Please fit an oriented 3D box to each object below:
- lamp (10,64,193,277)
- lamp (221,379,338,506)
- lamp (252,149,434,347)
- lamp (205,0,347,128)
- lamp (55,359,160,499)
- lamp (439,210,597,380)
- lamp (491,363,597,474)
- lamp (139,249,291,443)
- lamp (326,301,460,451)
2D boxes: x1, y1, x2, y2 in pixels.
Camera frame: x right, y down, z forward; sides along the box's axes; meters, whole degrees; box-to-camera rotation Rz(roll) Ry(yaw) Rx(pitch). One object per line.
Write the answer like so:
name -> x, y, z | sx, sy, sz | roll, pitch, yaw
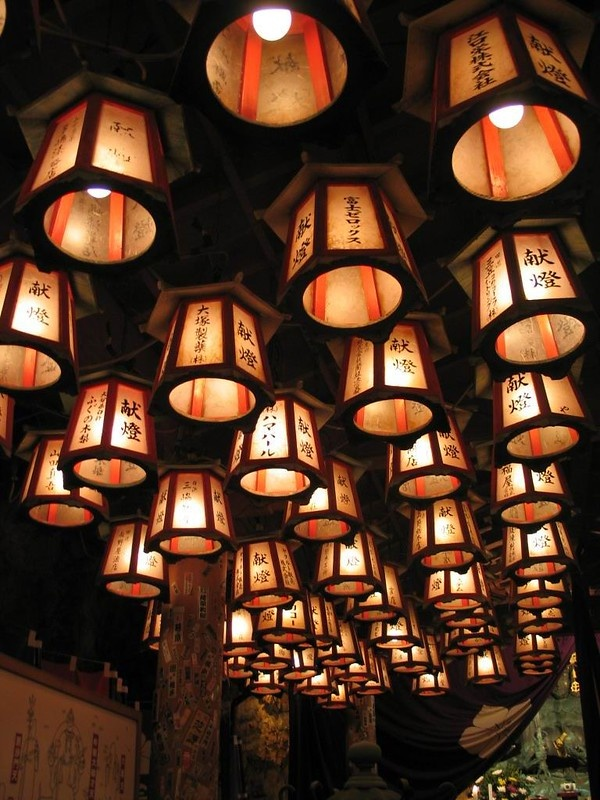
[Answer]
lamp -> -0.924, -1.150, 3.569 | 0.892, 0.840, 0.693 | 11, -29, -29
lamp -> -0.189, 0.276, 5.354 | 0.713, 0.629, 0.617 | -5, -24, 10
lamp -> 0.253, -0.715, 3.697 | 0.850, 0.744, 0.642 | 5, -31, -9
lamp -> -0.093, -1.320, 2.944 | 0.365, 0.375, 0.362 | 23, -46, -29
lamp -> -1.314, 0.231, 5.235 | 0.703, 0.693, 0.625 | -8, -33, 9
lamp -> 1.244, -0.520, 4.057 | 0.664, 0.734, 0.734 | 10, -32, -17
lamp -> 1.782, 0.124, 5.047 | 0.830, 0.989, 0.570 | 3, -67, 8
lamp -> -0.504, -0.294, 4.539 | 1.069, 0.956, 0.875 | 2, -46, -2
lamp -> 0.630, -0.103, 4.884 | 0.853, 0.903, 0.870 | -1, -49, 4
